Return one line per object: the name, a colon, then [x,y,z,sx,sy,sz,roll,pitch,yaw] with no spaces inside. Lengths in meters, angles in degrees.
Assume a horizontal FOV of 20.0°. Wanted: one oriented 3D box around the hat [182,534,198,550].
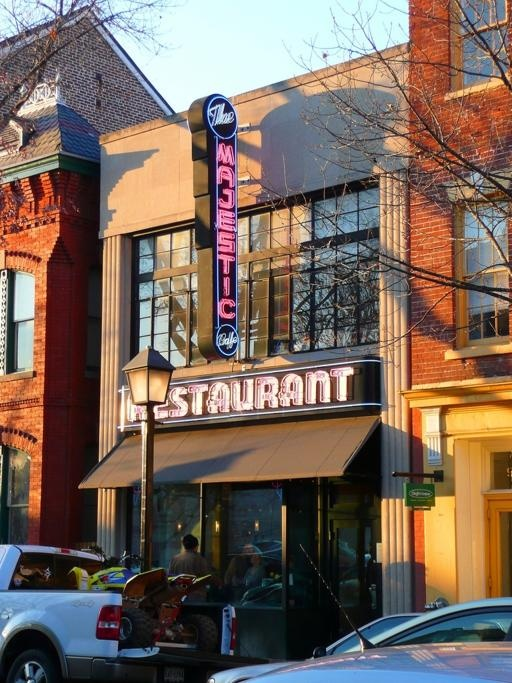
hat: [-0.879,2.705,19.502,0.186,0.261,0.245,3,14,2]
